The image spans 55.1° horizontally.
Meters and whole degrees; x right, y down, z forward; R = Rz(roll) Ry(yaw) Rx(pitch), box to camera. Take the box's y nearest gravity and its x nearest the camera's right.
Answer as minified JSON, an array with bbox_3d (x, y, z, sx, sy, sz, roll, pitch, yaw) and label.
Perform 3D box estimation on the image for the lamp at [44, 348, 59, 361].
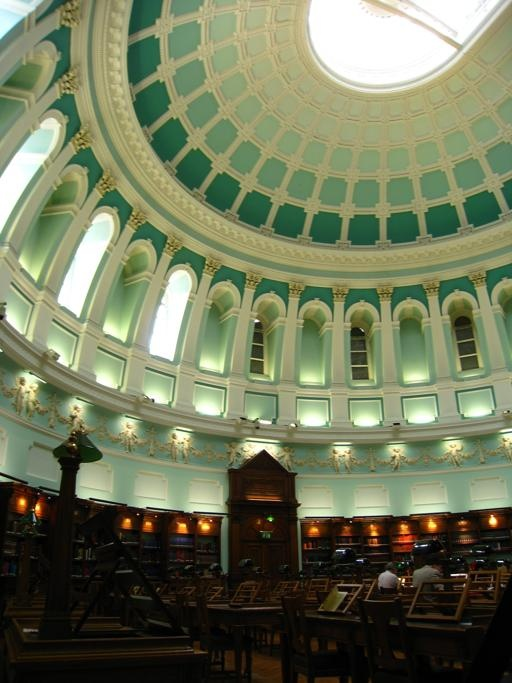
[{"bbox_3d":[-4.437,0.285,10.588,0.204,0.264,0.198,-16,-17,-48],"label":"lamp"}]

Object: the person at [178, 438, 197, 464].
[{"bbox_3d":[-2.075,3.184,14.398,0.606,0.759,0.163,30,-41,-35],"label":"person"}]

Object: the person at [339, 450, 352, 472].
[{"bbox_3d":[2.918,3.864,15.970,0.416,0.698,0.174,6,-33,-3],"label":"person"}]

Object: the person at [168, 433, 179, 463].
[{"bbox_3d":[-2.409,3.010,14.173,0.160,0.832,0.425,-17,-39,30],"label":"person"}]
